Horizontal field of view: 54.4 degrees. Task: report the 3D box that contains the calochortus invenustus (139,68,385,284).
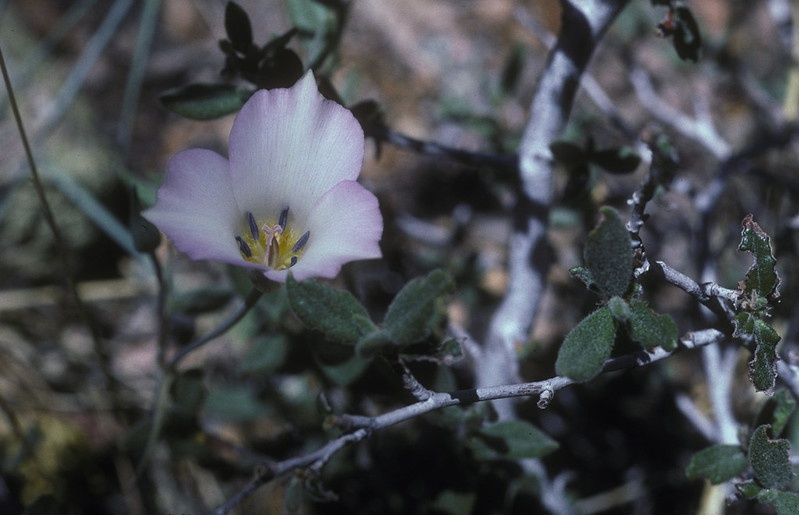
[{"bbox_3d":[-0.233,-0.154,1.452,0.434,0.342,0.257,10,27,-3],"label":"calochortus invenustus"}]
